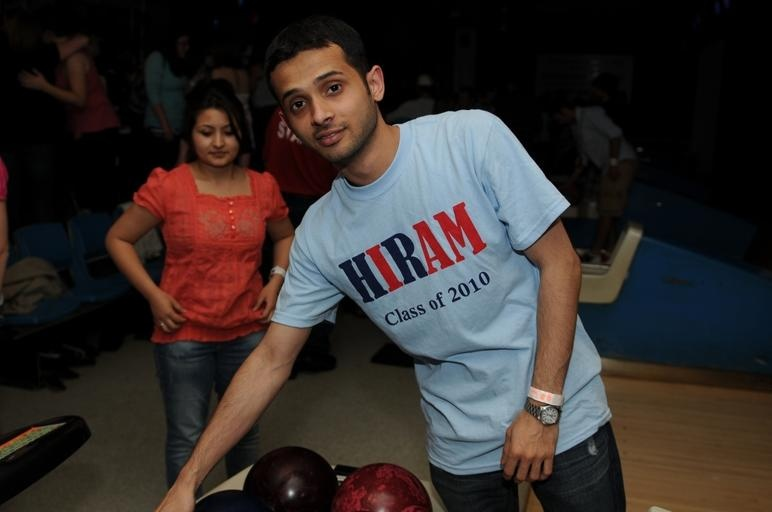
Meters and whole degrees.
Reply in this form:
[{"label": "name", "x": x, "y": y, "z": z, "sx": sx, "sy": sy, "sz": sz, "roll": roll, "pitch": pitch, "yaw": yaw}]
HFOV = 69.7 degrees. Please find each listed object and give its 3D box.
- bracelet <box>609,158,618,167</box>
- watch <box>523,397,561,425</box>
[{"label": "bracelet", "x": 2.208, "y": -0.910, "z": 5.387, "sx": 0.053, "sy": 0.026, "sz": 0.079, "roll": 0, "pitch": 43, "yaw": 18}, {"label": "watch", "x": 0.513, "y": 0.510, "z": 1.799, "sx": 0.084, "sy": 0.045, "sz": 0.085, "roll": 16, "pitch": 10, "yaw": -3}]
